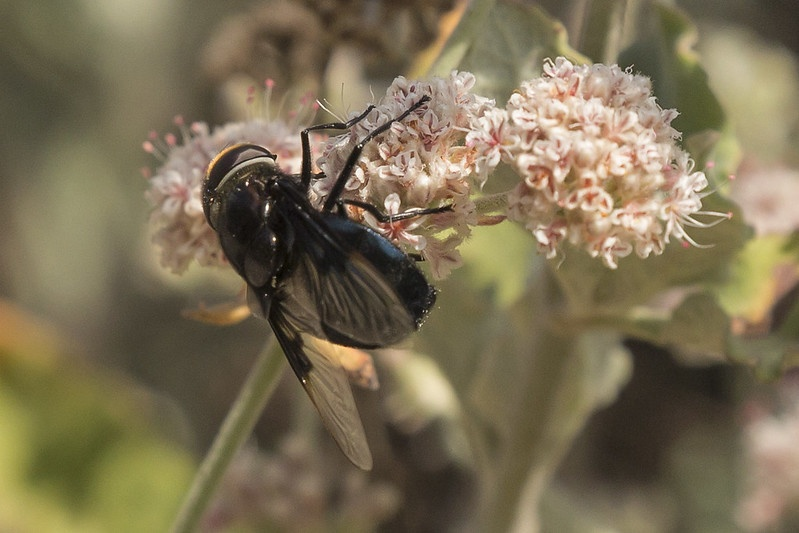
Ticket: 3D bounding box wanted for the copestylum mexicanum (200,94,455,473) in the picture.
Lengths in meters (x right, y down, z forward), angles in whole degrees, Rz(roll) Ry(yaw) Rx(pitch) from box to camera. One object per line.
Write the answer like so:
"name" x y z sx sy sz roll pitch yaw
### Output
"copestylum mexicanum" -0.110 0.008 1.355 0.313 0.575 0.520 1 -14 0
